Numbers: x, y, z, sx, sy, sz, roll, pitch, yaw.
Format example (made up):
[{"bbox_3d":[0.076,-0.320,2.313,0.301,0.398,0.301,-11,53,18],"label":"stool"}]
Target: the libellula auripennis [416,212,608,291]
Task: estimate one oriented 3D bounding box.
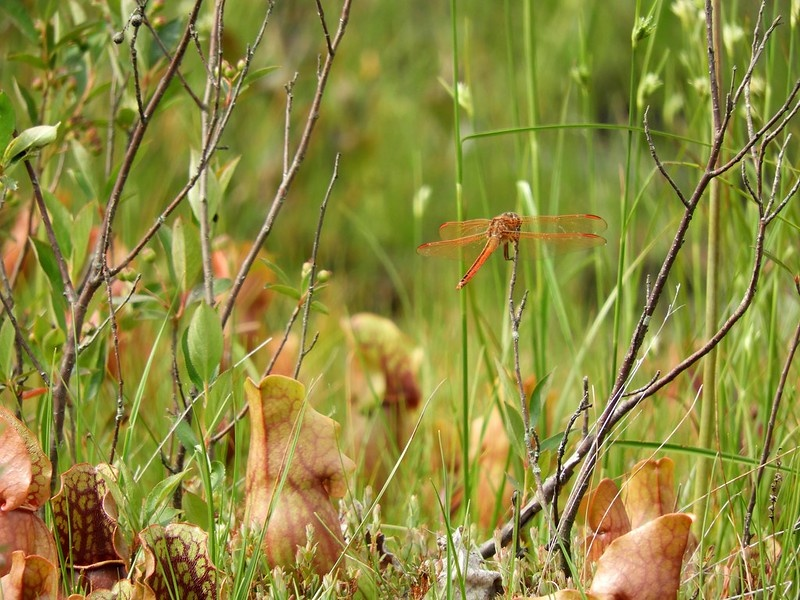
[{"bbox_3d":[0.197,-0.118,2.257,0.319,0.141,0.509,11,11,41],"label":"libellula auripennis"}]
